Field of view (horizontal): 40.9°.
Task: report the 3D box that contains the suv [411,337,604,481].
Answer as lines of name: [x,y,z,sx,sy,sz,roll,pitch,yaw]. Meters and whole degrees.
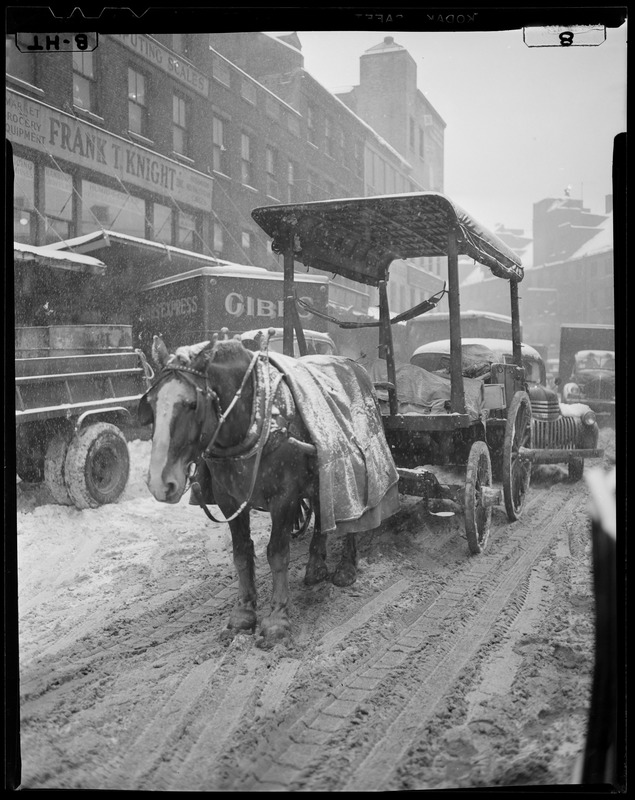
suv: [2.103,0.093,9.930,1.266,1.871,2.332,0,-1,-41]

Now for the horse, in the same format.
horse: [-0.363,0.485,4.835,0.540,1.702,1.770,4,7,32]

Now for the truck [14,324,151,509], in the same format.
truck: [-2.210,0.123,7.751,0.866,1.552,1.653,1,6,9]

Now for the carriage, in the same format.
carriage: [0.118,-0.072,5.697,1.087,2.677,2.895,-5,-2,39]
